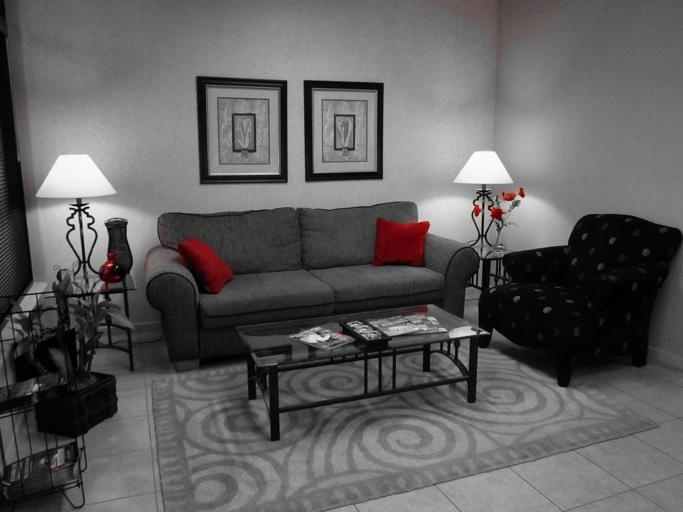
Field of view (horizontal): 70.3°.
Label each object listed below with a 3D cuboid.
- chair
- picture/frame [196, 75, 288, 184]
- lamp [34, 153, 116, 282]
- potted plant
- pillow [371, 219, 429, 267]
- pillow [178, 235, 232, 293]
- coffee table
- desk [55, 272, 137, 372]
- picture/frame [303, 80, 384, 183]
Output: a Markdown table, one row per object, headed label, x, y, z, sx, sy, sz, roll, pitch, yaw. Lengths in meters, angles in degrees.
| label | x | y | z | sx | sy | sz | roll | pitch | yaw |
| --- | --- | --- | --- | --- | --- | --- | --- | --- | --- |
| chair | 1.748 | 0.213 | 3.809 | 1.291 | 1.180 | 1.134 | -4 | 10 | -26 |
| picture/frame | -0.907 | -1.148 | 4.249 | 0.899 | 1.071 | 0.077 | -2 | 10 | -18 |
| lamp | -1.990 | -0.297 | 3.713 | 0.514 | 0.952 | 0.646 | -7 | 15 | -26 |
| potted plant | -1.642 | 0.644 | 2.923 | 0.422 | 0.822 | 0.665 | 5 | 13 | 12 |
| pillow | 0.507 | -0.127 | 4.531 | 0.560 | 0.189 | 0.602 | 12 | -32 | -7 |
| pillow | -1.045 | 0.059 | 3.732 | 0.315 | 0.383 | 0.310 | 2 | 13 | 8 |
| coffee table | 0.181 | 0.581 | 3.100 | 1.470 | 0.574 | 0.762 | -8 | 16 | -21 |
| desk | -1.654 | 0.436 | 3.242 | 0.627 | 0.573 | 0.513 | 0 | 9 | -19 |
| picture/frame | -0.009 | -1.216 | 4.555 | 0.907 | 1.061 | 0.076 | -2 | 11 | -17 |
